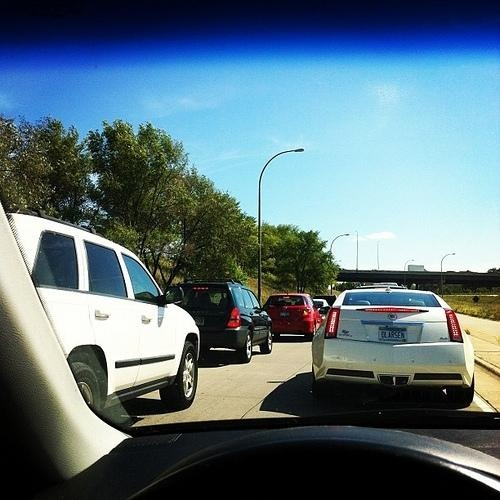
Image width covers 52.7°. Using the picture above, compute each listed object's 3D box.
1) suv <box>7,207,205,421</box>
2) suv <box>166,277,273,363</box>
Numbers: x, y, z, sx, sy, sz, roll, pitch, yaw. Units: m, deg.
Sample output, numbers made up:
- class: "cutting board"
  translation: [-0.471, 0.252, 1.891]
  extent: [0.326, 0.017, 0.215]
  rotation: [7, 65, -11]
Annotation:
- class: "suv"
  translation: [-1.175, 0.529, 4.464]
  extent: [0.919, 0.924, 2.024]
  rotation: [0, -3, 15]
- class: "suv"
  translation: [-0.399, 1.494, 11.659]
  extent: [1.183, 1.068, 2.682]
  rotation: [-2, -3, 17]
